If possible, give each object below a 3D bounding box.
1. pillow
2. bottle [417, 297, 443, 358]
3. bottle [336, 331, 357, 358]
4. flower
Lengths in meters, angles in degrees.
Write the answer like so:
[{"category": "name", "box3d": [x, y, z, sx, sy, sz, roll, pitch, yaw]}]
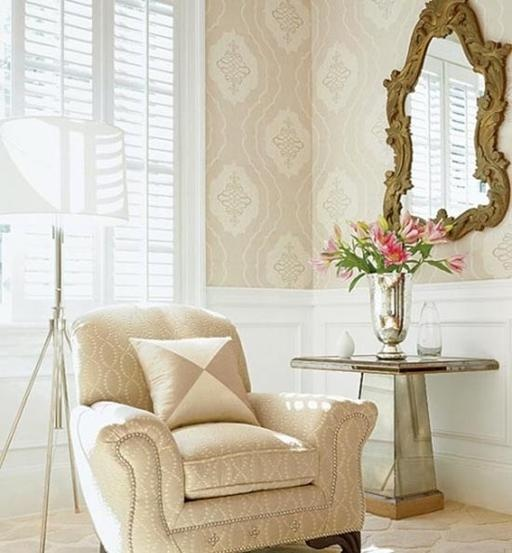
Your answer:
[{"category": "pillow", "box3d": [-0.183, 0.288, 2.055, 0.373, 0.352, 0.118, 4, -41, -33]}, {"category": "bottle", "box3d": [0.794, 0.244, 2.735, 0.102, 0.257, 0.103, -2, 0, 0]}, {"category": "bottle", "box3d": [0.410, 0.339, 2.882, 0.108, 0.150, 0.108, 1, -6, 0]}, {"category": "flower", "box3d": [0.640, -0.135, 2.718, 0.504, 0.298, 0.484, -9, -3, -20]}]
